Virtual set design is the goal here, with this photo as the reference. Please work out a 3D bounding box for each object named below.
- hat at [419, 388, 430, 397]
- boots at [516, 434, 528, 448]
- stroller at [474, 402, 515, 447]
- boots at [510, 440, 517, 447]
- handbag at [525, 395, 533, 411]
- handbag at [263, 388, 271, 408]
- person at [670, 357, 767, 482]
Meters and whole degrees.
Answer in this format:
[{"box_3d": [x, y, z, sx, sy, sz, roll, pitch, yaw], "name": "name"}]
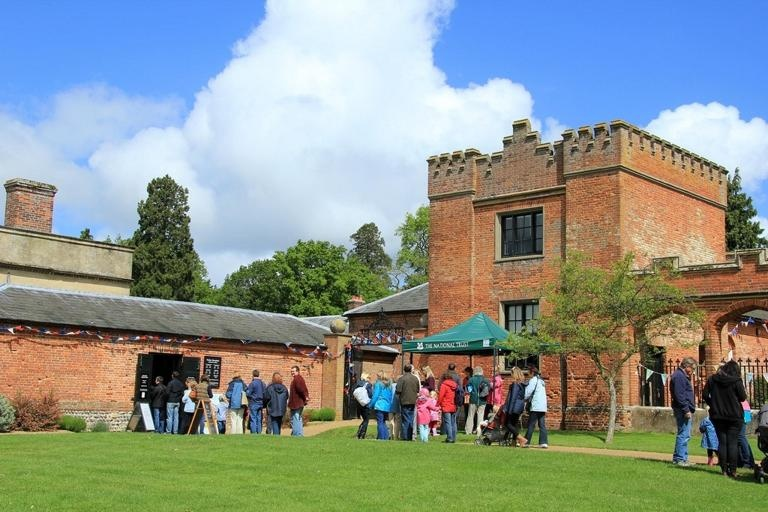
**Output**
[{"box_3d": [1.359, 4.417, 28.043, 0.270, 0.317, 0.522, -6, -15, 25], "name": "hat"}, {"box_3d": [4.180, 5.585, 26.094, 0.313, 0.281, 0.382, -1, -13, 7], "name": "boots"}, {"box_3d": [3.517, 5.514, 27.545, 1.454, 1.720, 1.070, 1, -13, 1], "name": "stroller"}, {"box_3d": [3.980, 5.754, 26.487, 0.142, 0.129, 0.139, -1, 0, 8], "name": "boots"}, {"box_3d": [4.436, 4.387, 25.741, 0.398, 0.479, 0.746, -2, -14, 9], "name": "handbag"}, {"box_3d": [-3.903, 4.747, 28.929, 0.208, 0.574, 0.435, 8, 3, -8], "name": "handbag"}, {"box_3d": [8.487, 4.001, 21.231, 0.969, 2.773, 0.649, -8, -16, 33], "name": "person"}]
